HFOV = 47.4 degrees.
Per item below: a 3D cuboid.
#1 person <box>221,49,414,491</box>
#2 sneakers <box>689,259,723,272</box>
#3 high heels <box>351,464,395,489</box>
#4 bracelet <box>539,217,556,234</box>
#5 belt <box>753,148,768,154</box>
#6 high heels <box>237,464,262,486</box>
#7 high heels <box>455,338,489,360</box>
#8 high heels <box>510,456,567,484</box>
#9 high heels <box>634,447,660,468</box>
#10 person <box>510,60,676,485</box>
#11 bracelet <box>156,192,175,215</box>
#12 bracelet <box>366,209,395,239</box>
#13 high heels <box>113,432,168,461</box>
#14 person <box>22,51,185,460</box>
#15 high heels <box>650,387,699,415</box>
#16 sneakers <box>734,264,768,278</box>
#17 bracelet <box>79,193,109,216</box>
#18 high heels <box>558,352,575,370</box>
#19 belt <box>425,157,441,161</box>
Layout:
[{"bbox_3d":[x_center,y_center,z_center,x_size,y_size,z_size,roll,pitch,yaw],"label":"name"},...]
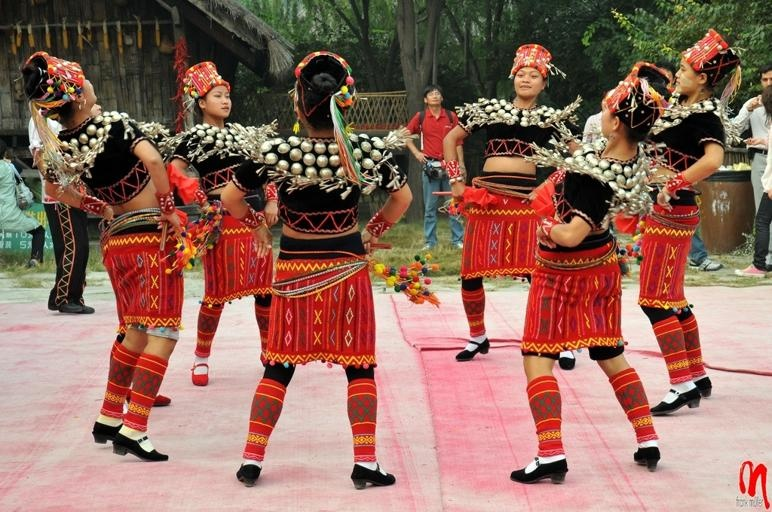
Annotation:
[{"bbox_3d":[-0.437,0.066,5.694,1.128,2.745,0.712,2,10,5],"label":"person"},{"bbox_3d":[3.945,0.114,10.896,0.443,0.154,0.154,0,0,30],"label":"sneakers"},{"bbox_3d":[-0.101,1.396,5.580,0.314,0.120,0.129,-1,0,-20],"label":"high heels"},{"bbox_3d":[1.031,-0.198,5.650,0.068,0.096,0.133,-4,10,-24],"label":"bracelet"},{"bbox_3d":[4.600,-1.310,10.800,0.097,0.077,0.088,-3,17,-4],"label":"belt"},{"bbox_3d":[-0.869,1.381,5.574,0.117,0.075,0.192,1,1,-5],"label":"high heels"},{"bbox_3d":[0.758,0.806,7.695,0.395,0.124,0.131,-8,4,-21],"label":"high heels"},{"bbox_3d":[0.983,1.374,5.677,0.393,0.132,0.152,1,-2,10],"label":"high heels"},{"bbox_3d":[1.700,1.306,5.709,0.098,0.100,0.227,-1,3,2],"label":"high heels"},{"bbox_3d":[1.350,0.080,5.744,1.068,2.690,0.779,1,10,-2],"label":"person"},{"bbox_3d":[-1.498,-0.374,5.988,0.109,0.145,0.111,-1,10,-12],"label":"bracelet"},{"bbox_3d":[-0.053,-0.219,5.933,0.175,0.148,0.207,-42,5,-8],"label":"bracelet"},{"bbox_3d":[-1.657,1.287,5.974,0.478,0.153,0.150,8,-4,-8],"label":"high heels"},{"bbox_3d":[-1.893,-0.018,6.016,1.000,2.708,0.715,2,10,7],"label":"person"},{"bbox_3d":[2.147,1.078,6.583,0.465,0.145,0.164,-7,-3,-3],"label":"high heels"},{"bbox_3d":[4.323,0.174,10.395,0.392,0.130,0.140,2,0,15],"label":"sneakers"},{"bbox_3d":[-2.012,-0.366,6.130,0.230,0.117,0.106,19,22,18],"label":"bracelet"},{"bbox_3d":[1.501,0.863,7.400,0.159,0.093,0.252,1,18,2],"label":"high heels"},{"bbox_3d":[0.689,-1.443,12.755,0.109,0.080,0.104,8,12,34],"label":"belt"}]
